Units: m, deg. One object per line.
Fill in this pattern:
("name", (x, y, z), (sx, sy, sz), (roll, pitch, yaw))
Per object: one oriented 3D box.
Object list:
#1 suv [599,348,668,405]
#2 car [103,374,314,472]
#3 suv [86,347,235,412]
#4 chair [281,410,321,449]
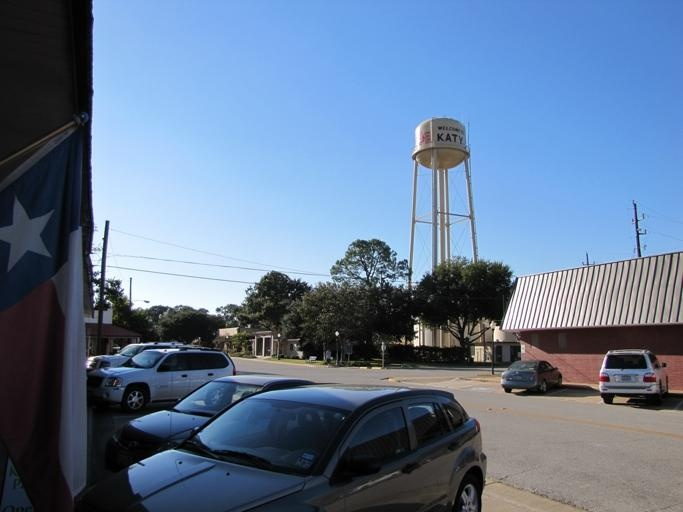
("suv", (11.041, 4.399, 20.197), (1.423, 1.441, 3.149), (-2, -1, 24))
("car", (-2.742, 2.798, 9.016), (3.706, 1.569, 1.746), (6, -8, -34))
("suv", (-5.315, 3.558, 15.592), (3.668, 1.648, 1.840), (6, -9, -36))
("chair", (-0.423, 1.815, 5.524), (0.249, 0.388, 0.313), (2, -7, 10))
